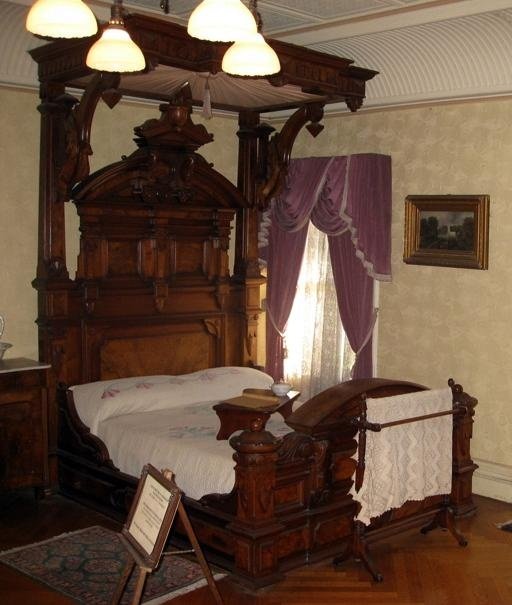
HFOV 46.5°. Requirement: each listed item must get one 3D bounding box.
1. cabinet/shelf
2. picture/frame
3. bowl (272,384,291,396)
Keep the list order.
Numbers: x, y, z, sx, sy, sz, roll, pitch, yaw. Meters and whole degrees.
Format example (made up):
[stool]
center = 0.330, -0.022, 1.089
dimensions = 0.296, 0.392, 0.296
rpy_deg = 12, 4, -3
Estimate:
[cabinet/shelf]
center = 0.854, 1.087, 3.592
dimensions = 1.145, 0.913, 0.407
rpy_deg = -9, 13, -41
[picture/frame]
center = 1.623, -0.615, 5.102
dimensions = 0.943, 0.613, 0.067
rpy_deg = -2, 5, -25
[bowl]
center = 0.174, 0.622, 4.321
dimensions = 0.105, 0.058, 0.108
rpy_deg = 2, 3, 0
